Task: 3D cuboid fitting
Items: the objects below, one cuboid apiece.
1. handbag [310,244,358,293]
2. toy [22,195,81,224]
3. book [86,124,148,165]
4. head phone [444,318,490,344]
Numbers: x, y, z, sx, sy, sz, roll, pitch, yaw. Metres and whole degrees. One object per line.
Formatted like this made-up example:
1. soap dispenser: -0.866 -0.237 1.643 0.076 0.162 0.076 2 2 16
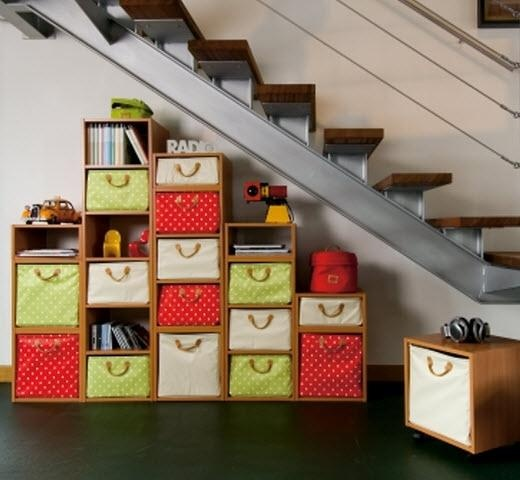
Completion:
1. handbag: 0.490 0.163 4.157 0.305 0.337 0.195 -1 20 4
2. toy: -1.423 -0.235 4.250 0.332 0.171 0.202 -4 8 -24
3. book: -1.000 -0.634 4.354 0.261 0.394 0.382 -1 8 -4
4. head phone: 1.154 0.509 3.491 0.162 0.087 0.174 -1 -5 2
